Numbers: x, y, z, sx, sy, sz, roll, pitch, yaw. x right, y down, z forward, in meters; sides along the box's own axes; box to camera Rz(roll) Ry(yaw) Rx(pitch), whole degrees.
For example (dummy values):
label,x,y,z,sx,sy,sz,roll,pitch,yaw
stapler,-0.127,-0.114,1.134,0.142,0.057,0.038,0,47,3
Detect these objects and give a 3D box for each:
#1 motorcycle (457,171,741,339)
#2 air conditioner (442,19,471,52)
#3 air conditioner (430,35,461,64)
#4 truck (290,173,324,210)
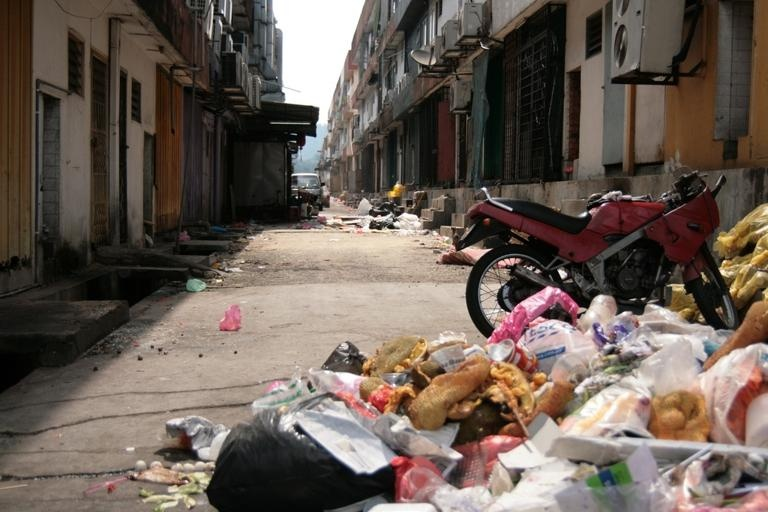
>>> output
label,x,y,z,sx,sy,sz,roll,pitch,yaw
motorcycle,1.889,-0.042,6.158,2.976,1.874,1.113,-8,9,-2
air conditioner,1.647,-4.843,14.692,0.544,0.777,1.034,0,-7,-1
air conditioner,1.512,-4.974,15.548,0.298,0.480,0.990,0,6,-2
truck,-3.947,-3.522,32.869,1.249,1.315,2.230,-1,-3,-3
